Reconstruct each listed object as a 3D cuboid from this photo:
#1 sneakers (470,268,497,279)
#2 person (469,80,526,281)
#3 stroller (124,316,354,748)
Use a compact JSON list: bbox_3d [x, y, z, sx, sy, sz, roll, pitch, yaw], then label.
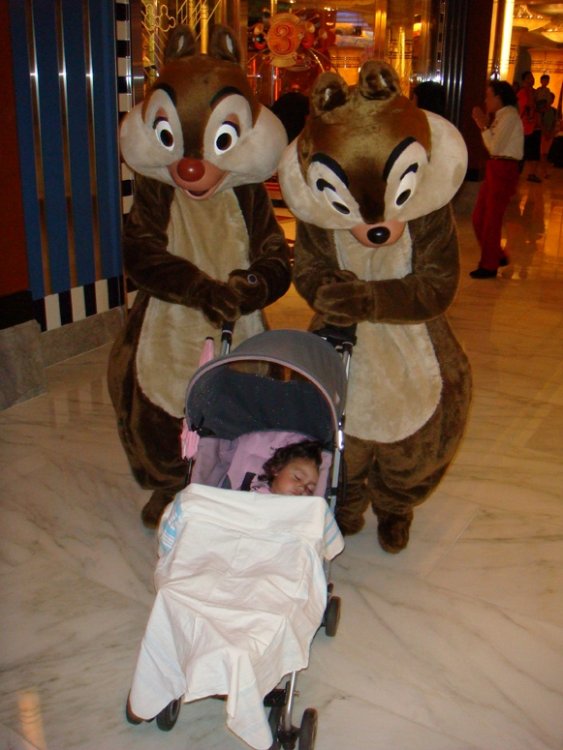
[{"bbox_3d":[1.778,-0.906,5.322,0.205,0.073,0.100,-1,10,-15],"label":"sneakers"},{"bbox_3d":[1.894,-1.761,5.370,0.484,1.646,0.955,8,22,15],"label":"person"},{"bbox_3d":[-0.041,0.238,1.369,0.412,0.571,1.028,6,38,7],"label":"stroller"}]
